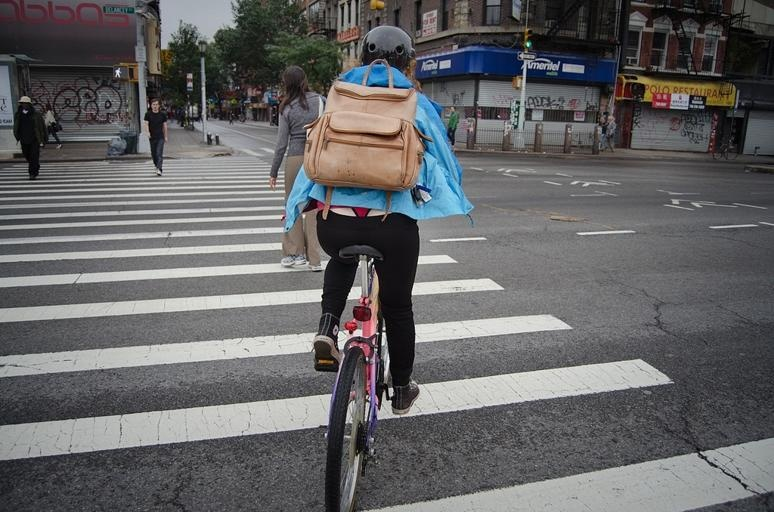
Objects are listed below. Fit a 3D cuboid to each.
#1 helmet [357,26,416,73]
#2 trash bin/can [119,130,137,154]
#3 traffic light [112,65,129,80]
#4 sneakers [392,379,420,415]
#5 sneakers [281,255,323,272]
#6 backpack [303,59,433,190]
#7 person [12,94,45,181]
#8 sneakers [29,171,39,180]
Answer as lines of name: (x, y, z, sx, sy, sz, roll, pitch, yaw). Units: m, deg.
helmet: (-0.008, -1.557, 4.194, 0.289, 0.319, 0.367, 3, 28, 8)
trash bin/can: (-11.207, -4.963, 24.765, 0.791, 0.907, 0.452, -13, 22, -41)
traffic light: (-12.084, -8.398, 25.753, 0.517, 0.615, 1.140, -4, 19, -20)
sneakers: (0.178, 1.105, 4.664, 0.138, 0.246, 0.394, 3, 25, 18)
sneakers: (-1.228, 0.096, 8.231, 0.623, 0.290, 0.240, 9, 11, 25)
backpack: (-0.125, -0.854, 3.931, 0.876, 0.775, 0.487, 3, 16, 3)
person: (-10.470, -3.492, 16.588, 0.886, 2.281, 0.758, 12, 16, 24)
sneakers: (-10.328, -2.368, 16.551, 0.216, 0.249, 0.553, -2, 6, -25)
